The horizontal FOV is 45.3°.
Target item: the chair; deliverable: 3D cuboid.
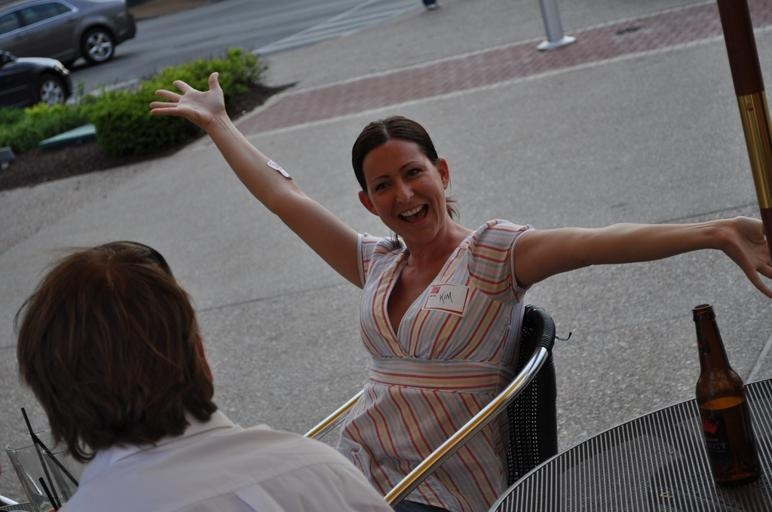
[{"bbox_3d":[0.190,0.486,3.070,0.652,0.452,0.688,6,5,-27],"label":"chair"}]
